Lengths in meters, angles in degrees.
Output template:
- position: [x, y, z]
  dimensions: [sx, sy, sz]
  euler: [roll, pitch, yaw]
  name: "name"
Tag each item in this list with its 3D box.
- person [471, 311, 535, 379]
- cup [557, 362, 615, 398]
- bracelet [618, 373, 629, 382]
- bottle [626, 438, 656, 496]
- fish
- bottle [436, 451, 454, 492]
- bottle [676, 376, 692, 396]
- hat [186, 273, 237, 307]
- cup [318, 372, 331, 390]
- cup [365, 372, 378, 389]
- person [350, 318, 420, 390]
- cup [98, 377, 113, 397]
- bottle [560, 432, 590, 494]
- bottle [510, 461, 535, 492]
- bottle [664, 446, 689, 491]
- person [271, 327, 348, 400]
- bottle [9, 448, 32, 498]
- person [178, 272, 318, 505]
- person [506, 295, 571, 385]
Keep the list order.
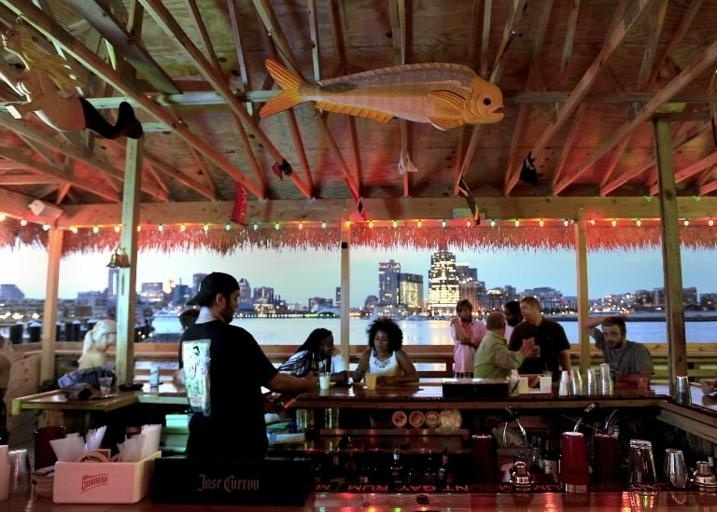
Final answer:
- position: [1.365, 0.858, 6.025]
  dimensions: [0.397, 0.638, 0.546]
  euler: [2, -7, -17]
  name: "person"
- position: [2.069, 1.148, 5.713]
  dimensions: [0.481, 0.280, 0.255]
  euler: [-3, -10, 11]
  name: "cup"
- position: [2.443, 1.114, 5.756]
  dimensions: [0.125, 0.068, 0.063]
  euler: [-2, -7, 20]
  name: "bracelet"
- position: [1.775, 1.308, 3.910]
  dimensions: [0.167, 0.269, 0.291]
  euler: [-4, -8, 24]
  name: "bottle"
- position: [0.232, -1.301, 5.074]
  dimensions: [1.813, 0.500, 0.367]
  euler: [-1, -7, 0]
  name: "fish"
- position: [0.701, 1.735, 5.128]
  dimensions: [0.133, 0.241, 0.116]
  euler: [-1, -7, 5]
  name: "bottle"
- position: [2.844, 1.129, 5.468]
  dimensions: [0.107, 0.153, 0.167]
  euler: [-4, -8, 25]
  name: "bottle"
- position: [-0.988, 0.203, 4.171]
  dimensions: [0.376, 0.182, 0.234]
  euler: [-15, 5, -3]
  name: "hat"
- position: [-0.312, 1.170, 5.779]
  dimensions: [0.145, 0.140, 0.129]
  euler: [-1, -10, -4]
  name: "cup"
- position: [0.113, 1.153, 5.725]
  dimensions: [0.086, 0.142, 0.126]
  euler: [-2, -7, 7]
  name: "cup"
- position: [0.283, 1.022, 6.513]
  dimensions: [0.836, 0.860, 0.635]
  euler: [-5, -26, 16]
  name: "person"
- position: [-2.295, 1.189, 5.644]
  dimensions: [0.109, 0.174, 0.125]
  euler: [3, -8, -28]
  name: "cup"
- position: [1.340, 1.278, 3.871]
  dimensions: [0.169, 0.333, 0.204]
  euler: [-3, -8, 21]
  name: "bottle"
- position: [1.023, 1.365, 3.906]
  dimensions: [0.136, 0.153, 0.268]
  euler: [-2, -7, 15]
  name: "bottle"
- position: [1.972, 1.314, 3.875]
  dimensions: [0.116, 0.226, 0.144]
  euler: [-6, -9, 35]
  name: "bottle"
- position: [-0.505, 1.055, 6.766]
  dimensions: [0.684, 1.273, 0.521]
  euler: [4, -9, -1]
  name: "person"
- position: [-2.056, 1.298, 3.773]
  dimensions: [0.127, 0.252, 0.159]
  euler: [3, -8, -26]
  name: "bottle"
- position: [-0.777, 0.692, 4.062]
  dimensions: [0.776, 1.178, 0.262]
  euler: [0, -8, -6]
  name: "person"
- position: [2.011, 0.945, 6.973]
  dimensions: [0.635, 1.075, 0.675]
  euler: [29, -39, -26]
  name: "person"
